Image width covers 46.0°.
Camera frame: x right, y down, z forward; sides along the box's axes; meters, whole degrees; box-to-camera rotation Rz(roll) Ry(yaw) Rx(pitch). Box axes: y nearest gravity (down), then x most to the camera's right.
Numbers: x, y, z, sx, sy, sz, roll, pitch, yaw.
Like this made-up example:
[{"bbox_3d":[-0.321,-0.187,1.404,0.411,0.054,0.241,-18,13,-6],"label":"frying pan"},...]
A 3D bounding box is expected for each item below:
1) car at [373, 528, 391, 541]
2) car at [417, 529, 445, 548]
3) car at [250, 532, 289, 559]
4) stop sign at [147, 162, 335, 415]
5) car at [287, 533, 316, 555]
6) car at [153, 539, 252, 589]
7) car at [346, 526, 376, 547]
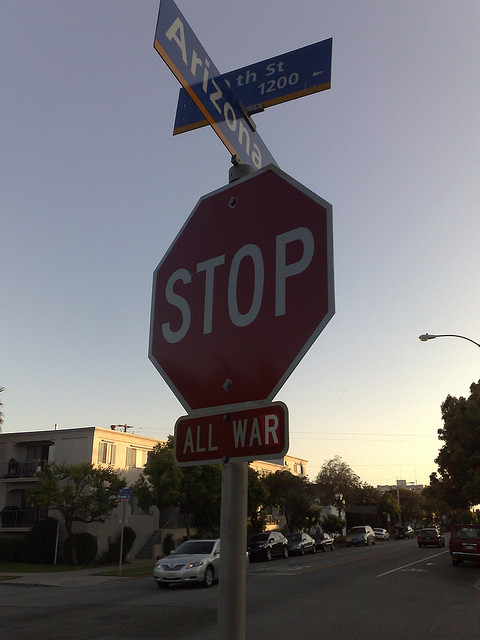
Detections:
[{"bbox_3d":[14.117,21.704,56.773,1.170,0.978,2.682,-2,-13,15],"label":"car"},{"bbox_3d":[13.239,15.001,39.340,1.134,1.028,2.881,-3,-10,19],"label":"car"},{"bbox_3d":[1.405,11.869,29.749,1.264,1.263,2.649,-5,-21,16],"label":"car"},{"bbox_3d":[0.020,-0.072,1.917,0.658,0.850,0.062,-21,-35,37],"label":"stop sign"},{"bbox_3d":[3.632,13.603,34.366,0.901,0.765,2.111,-12,-30,27],"label":"car"},{"bbox_3d":[-1.541,7.288,16.971,1.761,1.284,2.003,2,-20,-3],"label":"car"},{"bbox_3d":[9.899,17.718,46.483,1.237,1.122,2.326,-11,-32,24],"label":"car"}]
